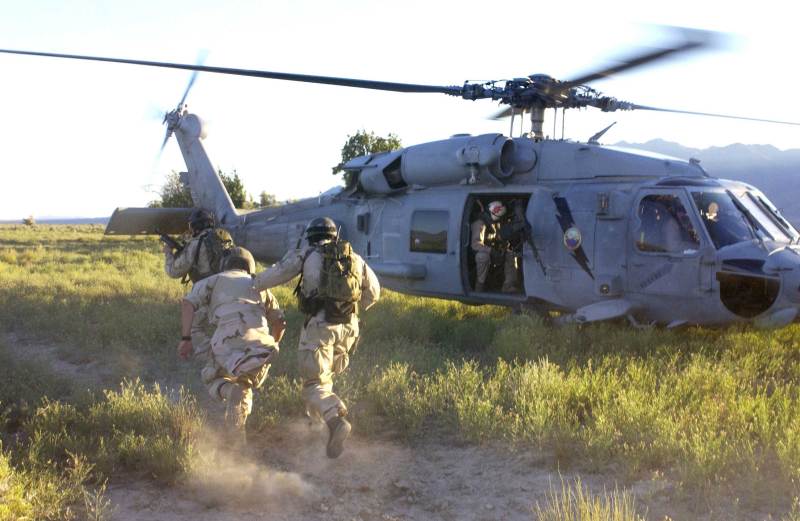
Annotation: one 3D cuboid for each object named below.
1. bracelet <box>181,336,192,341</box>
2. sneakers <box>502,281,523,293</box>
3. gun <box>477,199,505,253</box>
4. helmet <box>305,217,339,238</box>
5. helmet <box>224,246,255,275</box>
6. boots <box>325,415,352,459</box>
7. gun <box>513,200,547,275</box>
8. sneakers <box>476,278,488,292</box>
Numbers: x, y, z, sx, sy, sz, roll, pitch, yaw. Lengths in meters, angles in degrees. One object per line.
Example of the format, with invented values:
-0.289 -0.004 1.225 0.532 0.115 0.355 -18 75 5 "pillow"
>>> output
-3.036 1.134 10.366 0.120 0.079 0.188 4 -12 -19 "bracelet"
2.140 0.529 14.041 0.375 0.278 0.184 -3 9 -6 "sneakers"
1.767 -0.691 14.177 0.381 0.950 0.575 32 24 35 "gun"
-1.180 -0.458 10.942 0.333 0.349 0.436 1 11 -2 "helmet"
-2.421 0.130 11.024 0.350 0.494 0.490 6 25 -19 "helmet"
-0.872 2.485 10.177 0.315 0.596 0.401 2 -12 -9 "boots"
2.431 -0.387 13.638 0.194 1.415 0.357 -16 -4 -4 "gun"
1.566 0.502 14.333 0.247 0.355 0.200 -1 4 -12 "sneakers"
